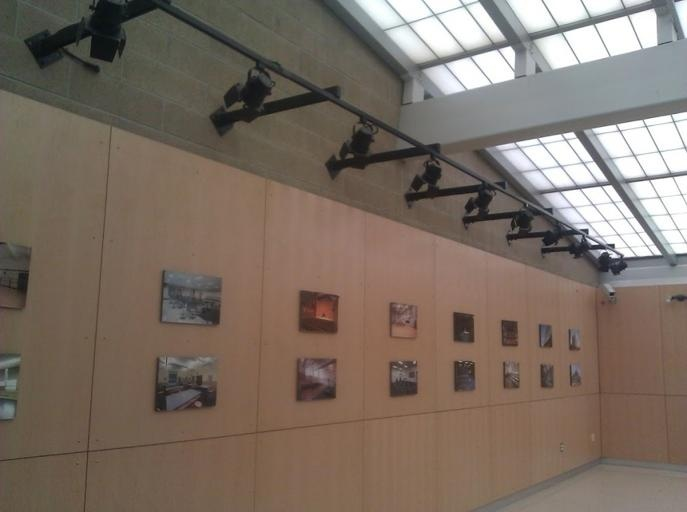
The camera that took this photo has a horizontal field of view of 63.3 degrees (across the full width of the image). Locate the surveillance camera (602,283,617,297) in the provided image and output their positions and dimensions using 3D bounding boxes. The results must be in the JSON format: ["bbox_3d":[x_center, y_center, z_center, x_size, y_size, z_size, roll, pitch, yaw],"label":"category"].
[{"bbox_3d":[8.492,1.080,17.815,0.185,0.216,0.352,-5,31,-14],"label":"surveillance camera"}]
